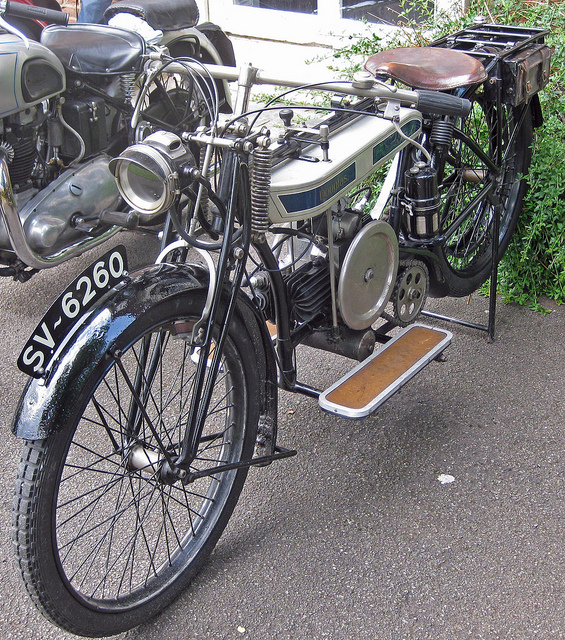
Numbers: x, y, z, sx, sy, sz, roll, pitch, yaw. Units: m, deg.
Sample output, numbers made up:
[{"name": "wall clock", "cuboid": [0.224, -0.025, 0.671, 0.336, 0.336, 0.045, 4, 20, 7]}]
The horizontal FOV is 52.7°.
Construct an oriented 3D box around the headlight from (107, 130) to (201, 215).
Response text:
[{"name": "headlight", "cuboid": [-0.261, -0.290, 1.166, 0.170, 0.144, 0.145, 12, 32, 26]}]
